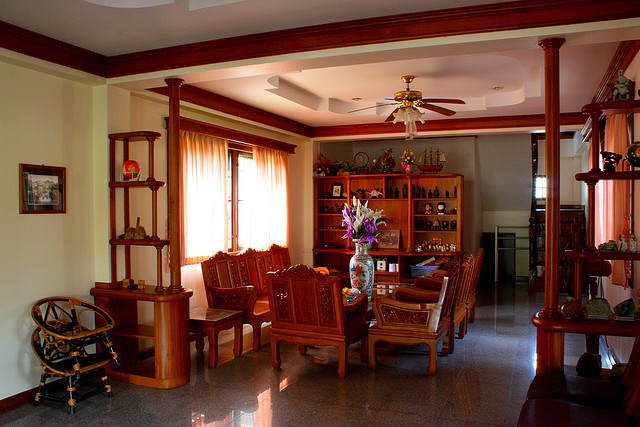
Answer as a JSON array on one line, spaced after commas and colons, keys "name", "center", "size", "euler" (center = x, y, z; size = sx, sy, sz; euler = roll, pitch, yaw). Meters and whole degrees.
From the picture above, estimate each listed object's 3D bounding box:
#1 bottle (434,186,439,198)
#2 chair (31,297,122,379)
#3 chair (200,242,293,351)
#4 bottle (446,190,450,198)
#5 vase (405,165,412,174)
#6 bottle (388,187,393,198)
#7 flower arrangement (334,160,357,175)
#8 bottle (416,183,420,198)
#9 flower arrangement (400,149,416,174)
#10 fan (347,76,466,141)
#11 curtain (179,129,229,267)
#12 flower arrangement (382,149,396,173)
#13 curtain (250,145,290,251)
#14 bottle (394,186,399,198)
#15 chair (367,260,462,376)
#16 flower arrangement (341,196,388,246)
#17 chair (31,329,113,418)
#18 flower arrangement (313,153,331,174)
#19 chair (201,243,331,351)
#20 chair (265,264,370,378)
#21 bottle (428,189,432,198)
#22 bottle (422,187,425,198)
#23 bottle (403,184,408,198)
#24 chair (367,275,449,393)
[{"name": "bottle", "center": [2.331, -0.424, 9.282], "size": [0.089, 0.215, 0.142], "euler": [2, 8, 13]}, {"name": "chair", "center": [-2.693, 1.379, 5.154], "size": [0.781, 0.848, 0.761], "euler": [-5, 0, -3]}, {"name": "chair", "center": [-0.765, 1.218, 7.522], "size": [0.974, 1.273, 2.534], "euler": [1, 1, 18]}, {"name": "bottle", "center": [2.542, -0.391, 9.261], "size": [0.051, 0.134, 0.061], "euler": [2, 8, 12]}, {"name": "vase", "center": [1.743, -0.861, 9.165], "size": [0.120, 0.168, 0.245], "euler": [1, 7, 5]}, {"name": "bottle", "center": [1.436, -0.419, 9.443], "size": [0.086, 0.189, 0.206], "euler": [1, 8, 9]}, {"name": "flower arrangement", "center": [0.567, -0.929, 9.569], "size": [0.376, 0.214, 0.367], "euler": [0, 15, -5]}, {"name": "bottle", "center": [1.965, -0.443, 9.314], "size": [0.066, 0.252, 0.204], "euler": [2, 8, 11]}, {"name": "flower arrangement", "center": [1.814, -1.058, 9.529], "size": [0.232, 0.471, 1.034], "euler": [1, 7, 10]}, {"name": "fan", "center": [1.360, -1.472, 6.524], "size": [0.790, 0.863, 1.293], "euler": [-1, 7, -6]}, {"name": "curtain", "center": [-1.754, -0.252, 7.096], "size": [0.280, 1.953, 1.089], "euler": [3, 9, 22]}, {"name": "flower arrangement", "center": [1.387, -1.047, 9.405], "size": [0.230, 0.449, 0.236], "euler": [1, 8, 6]}, {"name": "curtain", "center": [-0.900, -0.294, 8.567], "size": [0.173, 1.844, 1.435], "euler": [-6, 8, -40]}, {"name": "bottle", "center": [1.552, -0.397, 9.381], "size": [0.090, 0.159, 0.090], "euler": [0, 8, 0]}, {"name": "chair", "center": [1.284, 1.323, 6.180], "size": [1.035, 1.292, 1.068], "euler": [0, -1, 22]}, {"name": "flower arrangement", "center": [0.575, 0.106, 6.931], "size": [0.695, 0.612, 0.675], "euler": [28, -28, -30]}, {"name": "chair", "center": [-2.747, 1.688, 5.222], "size": [0.706, 0.828, 0.717], "euler": [0, 0, 6]}, {"name": "flower arrangement", "center": [0.040, -1.028, 9.714], "size": [0.399, 0.459, 0.378], "euler": [-1, 2, 39]}, {"name": "chair", "center": [-0.826, 1.205, 6.439], "size": [0.582, 0.846, 1.558], "euler": [0, 0, 18]}, {"name": "chair", "center": [0.000, 1.328, 6.043], "size": [1.100, 1.304, 0.982], "euler": [-2, -3, 29]}, {"name": "bottle", "center": [2.206, -0.392, 9.308], "size": [0.072, 0.155, 0.140], "euler": [1, 8, 11]}, {"name": "bottle", "center": [2.091, -0.415, 9.378], "size": [0.041, 0.173, 0.059], "euler": [0, 8, 4]}, {"name": "bottle", "center": [1.709, -0.422, 9.291], "size": [0.067, 0.221, 0.148], "euler": [-1, 8, -4]}, {"name": "chair", "center": [1.246, 1.436, 6.189], "size": [0.968, 1.250, 1.011], "euler": [-1, 0, 21]}]
